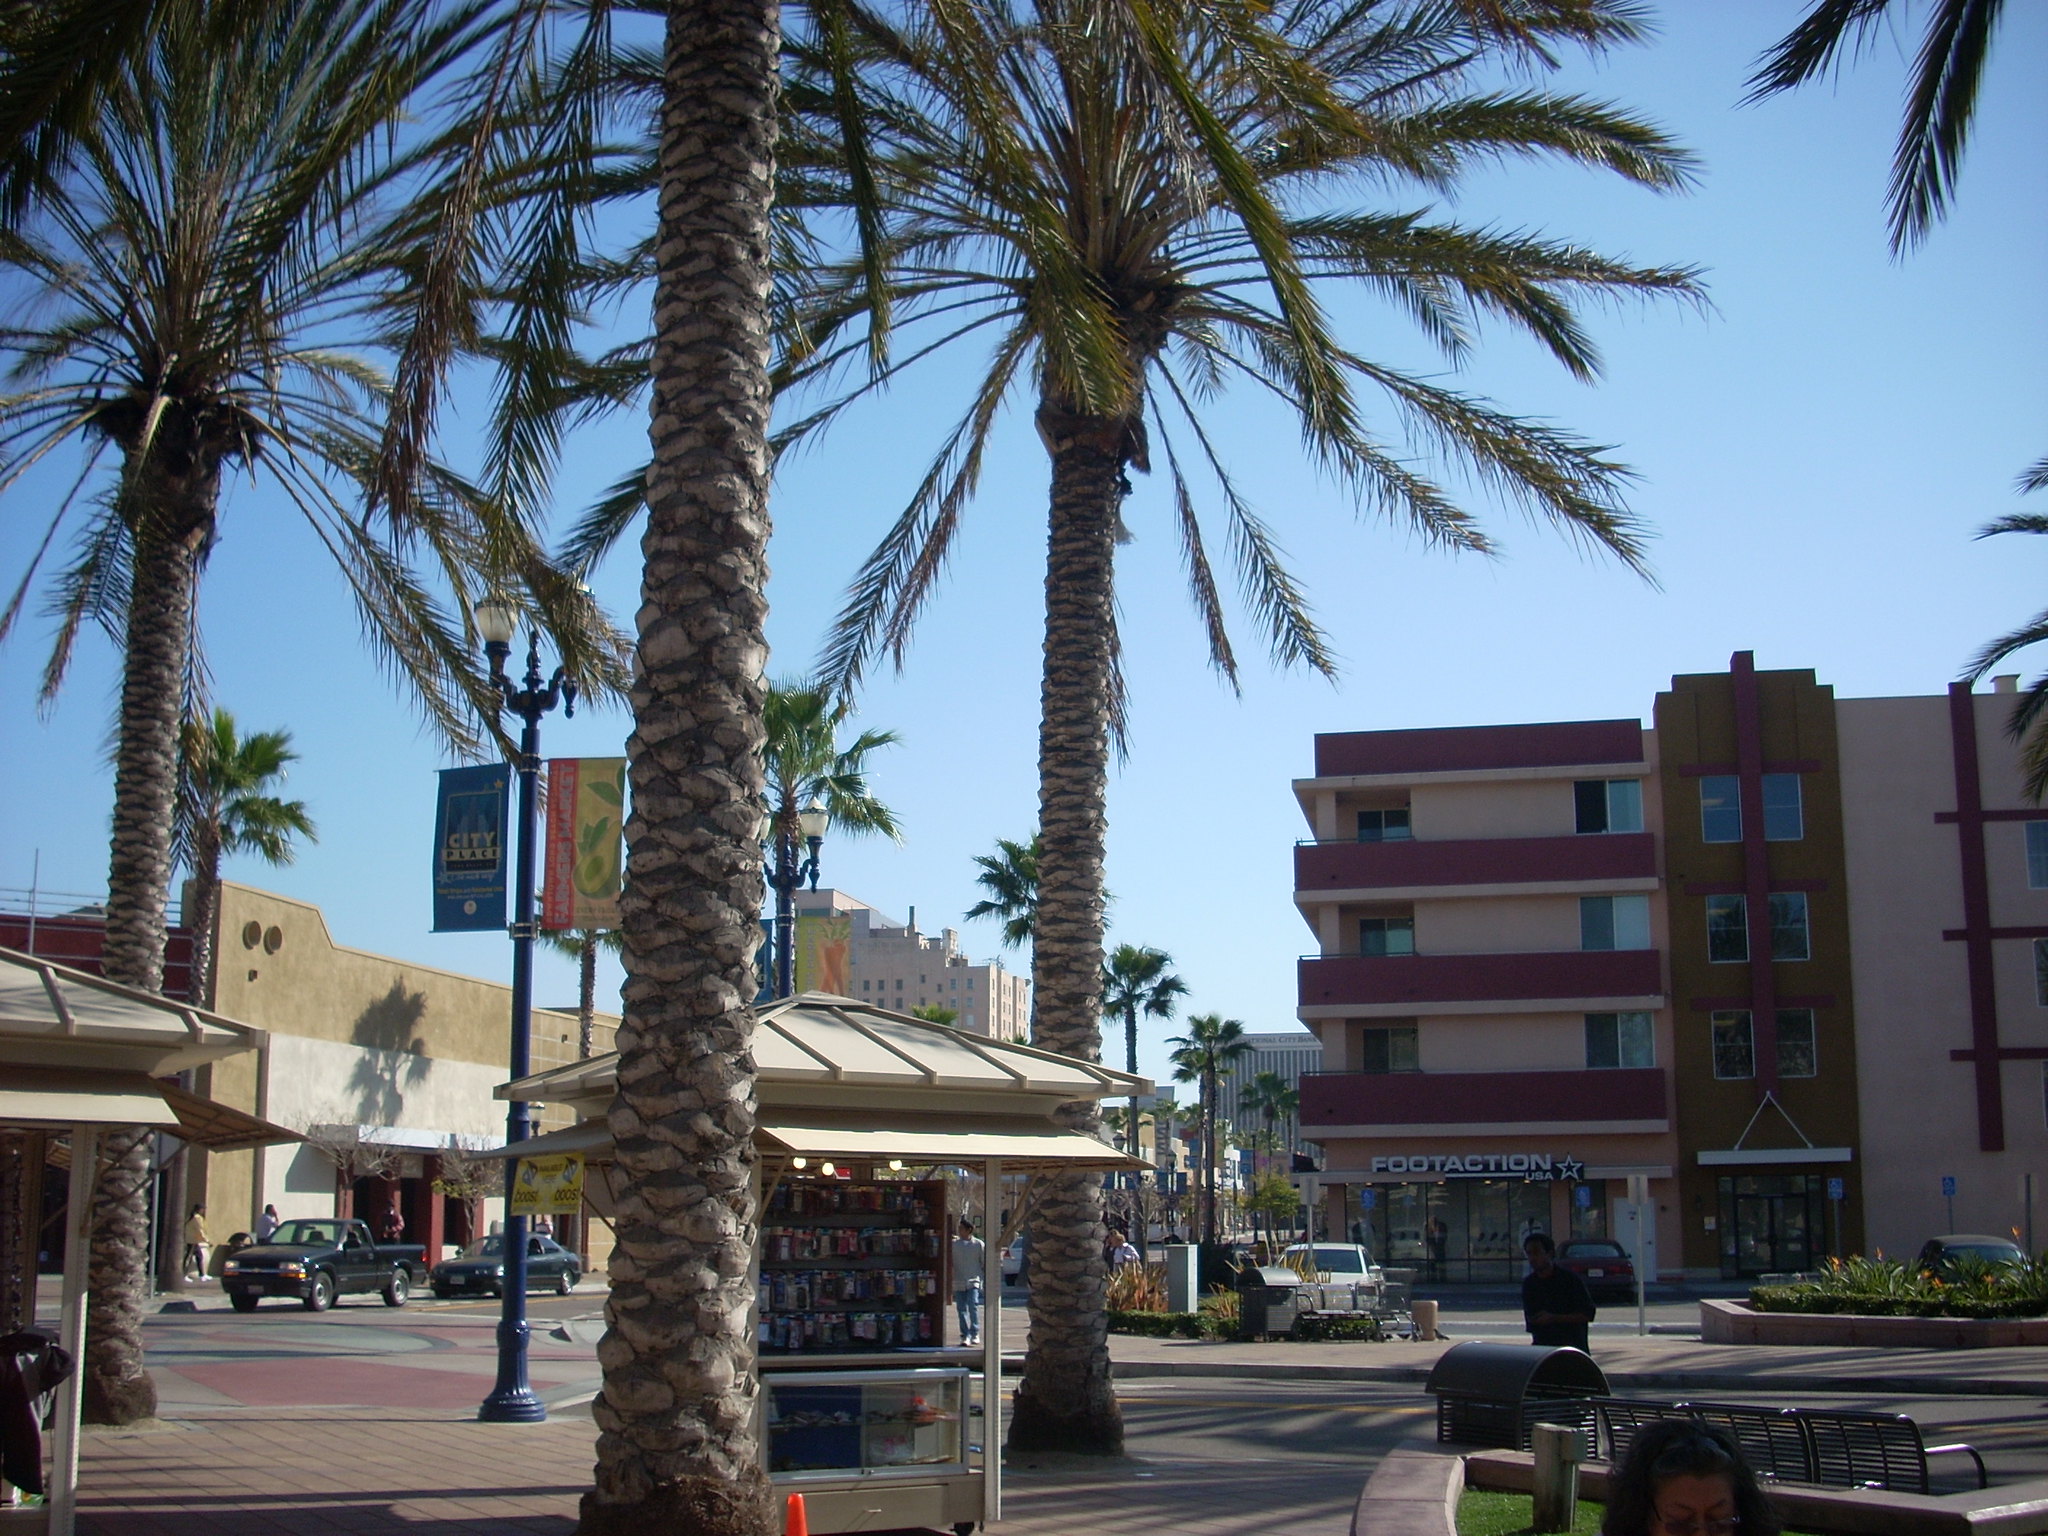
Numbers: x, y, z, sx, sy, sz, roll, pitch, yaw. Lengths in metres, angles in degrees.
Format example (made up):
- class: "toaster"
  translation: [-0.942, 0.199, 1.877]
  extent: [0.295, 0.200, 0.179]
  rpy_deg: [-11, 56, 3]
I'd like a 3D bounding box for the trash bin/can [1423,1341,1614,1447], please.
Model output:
- class: "trash bin/can"
  translation: [4.107, 5.293, 16.812]
  extent: [0.945, 0.761, 1.167]
  rpy_deg: [-10, -15, 37]
